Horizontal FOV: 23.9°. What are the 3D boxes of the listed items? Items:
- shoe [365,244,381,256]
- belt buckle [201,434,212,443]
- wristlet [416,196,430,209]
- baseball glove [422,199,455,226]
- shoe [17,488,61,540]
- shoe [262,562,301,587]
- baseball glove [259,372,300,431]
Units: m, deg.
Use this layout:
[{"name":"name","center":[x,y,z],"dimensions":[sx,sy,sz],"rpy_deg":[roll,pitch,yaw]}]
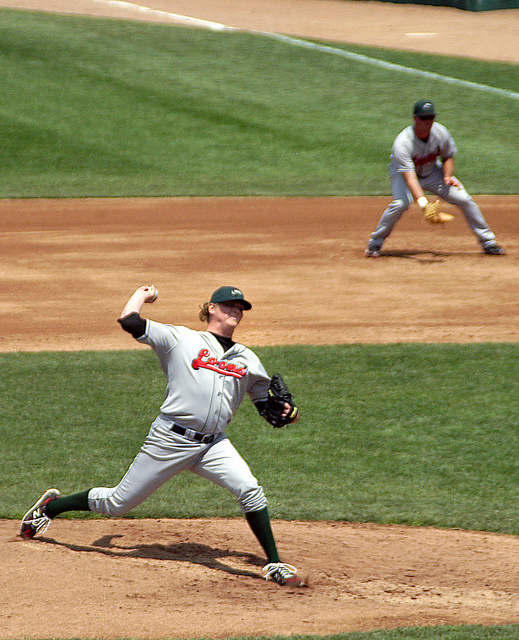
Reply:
[{"name":"shoe","center":[1.335,-0.807,14.319],"dimensions":[0.170,0.145,0.284],"rpy_deg":[6,8,5]},{"name":"belt buckle","center":[-0.380,0.848,8.589],"dimensions":[0.055,0.046,0.052],"rpy_deg":[10,3,-28]},{"name":"wristlet","center":[1.734,-1.246,12.958],"dimensions":[0.138,0.119,0.135],"rpy_deg":[20,-8,24]},{"name":"baseball glove","center":[1.880,-1.130,12.950],"dimensions":[0.301,0.230,0.413],"rpy_deg":[5,8,3]},{"name":"shoe","center":[-1.636,1.472,9.060],"dimensions":[0.197,0.467,0.165],"rpy_deg":[19,-23,35]},{"name":"shoe","center":[0.162,1.777,8.553],"dimensions":[0.311,0.117,0.114],"rpy_deg":[12,25,40]},{"name":"baseball glove","center":[0.148,0.611,8.892],"dimensions":[0.338,0.364,0.185],"rpy_deg":[-7,1,10]}]
